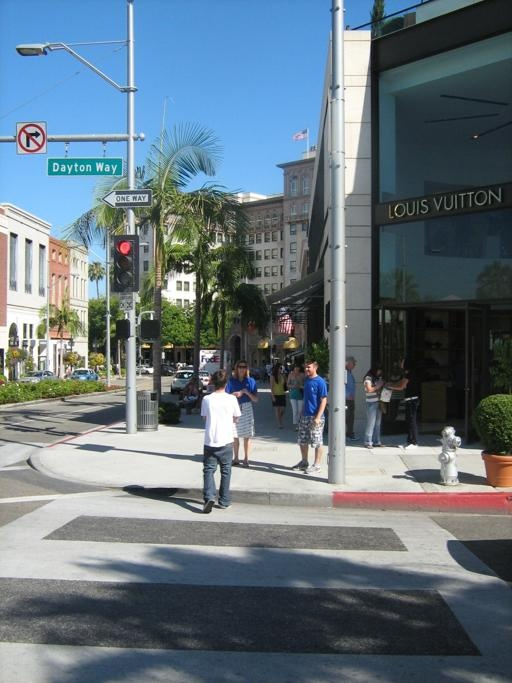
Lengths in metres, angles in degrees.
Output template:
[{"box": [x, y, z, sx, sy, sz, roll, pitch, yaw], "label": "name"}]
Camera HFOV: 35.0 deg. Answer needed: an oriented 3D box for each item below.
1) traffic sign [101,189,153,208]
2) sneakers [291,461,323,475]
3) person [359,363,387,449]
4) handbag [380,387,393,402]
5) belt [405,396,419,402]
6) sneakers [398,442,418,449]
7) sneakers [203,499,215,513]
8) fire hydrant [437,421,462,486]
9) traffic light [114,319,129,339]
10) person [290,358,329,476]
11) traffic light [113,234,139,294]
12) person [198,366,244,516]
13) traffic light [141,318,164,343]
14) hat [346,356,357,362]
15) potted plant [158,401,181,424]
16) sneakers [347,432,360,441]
[{"box": [-2.503, -2.830, 15.897, 0.922, 0.353, 0.489, -1, -1, -7], "label": "traffic sign"}, {"box": [0.731, 1.813, 11.610, 0.413, 0.173, 0.153, 0, -11, 8], "label": "sneakers"}, {"box": [2.067, 1.154, 14.261, 0.350, 1.404, 0.490, -1, -1, 7], "label": "person"}, {"box": [2.259, 0.913, 14.051, 0.183, 0.235, 0.085, 6, -1, 20], "label": "handbag"}, {"box": [2.667, 0.982, 13.951, 0.216, 0.099, 0.187, -1, -1, 9], "label": "belt"}, {"box": [2.642, 1.813, 14.066, 0.117, 0.155, 0.357, -5, -13, 30], "label": "sneakers"}, {"box": [-0.526, 1.867, 9.148, 0.067, 0.182, 0.077, 7, 33, -19], "label": "sneakers"}, {"box": [2.532, 1.467, 10.686, 0.245, 0.738, 0.876, -1, -1, 13], "label": "fire hydrant"}, {"box": [-2.720, -0.257, 16.640, 0.269, 0.408, 0.940, -1, -1, -10], "label": "traffic light"}, {"box": [0.790, 1.072, 11.796, 0.509, 1.582, 1.376, -1, -1, 5], "label": "person"}, {"box": [-2.452, -1.493, 15.421, 0.473, 1.055, 0.734, -1, -1, -10], "label": "traffic light"}, {"box": [-0.432, 1.142, 9.356, 0.387, 1.596, 0.545, -1, -1, 6], "label": "person"}, {"box": [-2.124, -0.232, 16.018, 0.470, 0.435, 0.112, -3, 3, -26], "label": "traffic light"}, {"box": [1.821, 0.353, 15.557, 0.142, 0.142, 0.104, -10, 14, -34], "label": "hat"}, {"box": [-2.094, 1.740, 19.749, 0.492, 0.511, 0.669, -1, -1, -7], "label": "potted plant"}, {"box": [1.887, 1.855, 15.717, 0.094, 0.113, 0.279, 2, 1, 31], "label": "sneakers"}]
